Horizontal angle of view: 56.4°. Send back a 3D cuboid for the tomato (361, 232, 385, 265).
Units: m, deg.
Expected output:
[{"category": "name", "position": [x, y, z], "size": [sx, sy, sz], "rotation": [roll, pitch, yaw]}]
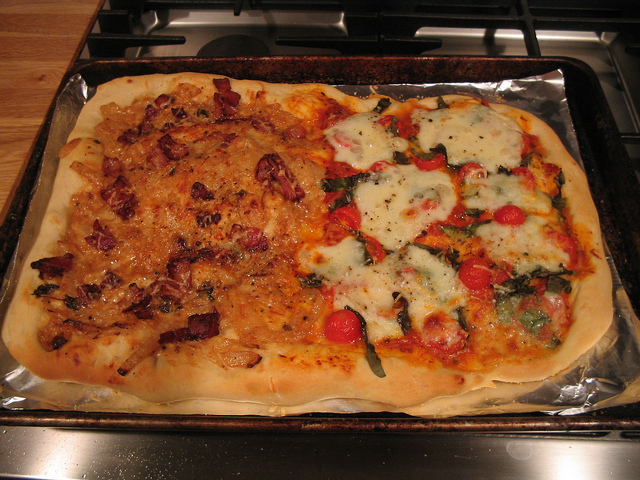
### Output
[{"category": "tomato", "position": [0.552, 0.089, 6.063], "size": [0.318, 0.088, 0.220], "rotation": [6, 57, -35]}]
